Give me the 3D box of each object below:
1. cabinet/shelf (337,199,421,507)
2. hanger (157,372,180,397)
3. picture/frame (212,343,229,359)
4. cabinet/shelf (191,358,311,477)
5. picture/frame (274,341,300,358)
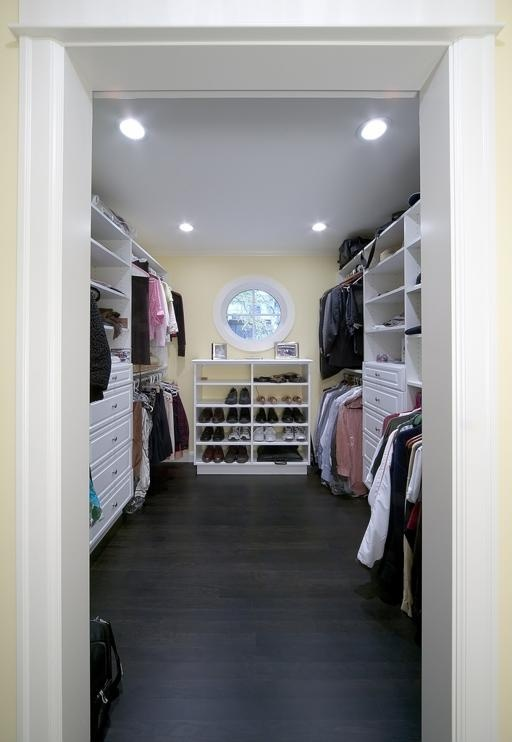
[{"bbox_3d":[0.687,-0.037,2.778,0.267,1.486,1.056,1,5,11],"label":"cabinet/shelf"},{"bbox_3d":[-0.663,0.115,3.882,0.124,0.070,0.195,4,10,-10],"label":"hanger"},{"bbox_3d":[-0.290,-0.149,4.116,0.108,0.133,0.042,1,2,-10],"label":"picture/frame"},{"bbox_3d":[-0.026,0.352,3.954,0.795,0.921,0.330,0,-2,-4],"label":"cabinet/shelf"},{"bbox_3d":[0.240,-0.157,4.136,0.195,0.128,0.180,0,5,2],"label":"picture/frame"}]
